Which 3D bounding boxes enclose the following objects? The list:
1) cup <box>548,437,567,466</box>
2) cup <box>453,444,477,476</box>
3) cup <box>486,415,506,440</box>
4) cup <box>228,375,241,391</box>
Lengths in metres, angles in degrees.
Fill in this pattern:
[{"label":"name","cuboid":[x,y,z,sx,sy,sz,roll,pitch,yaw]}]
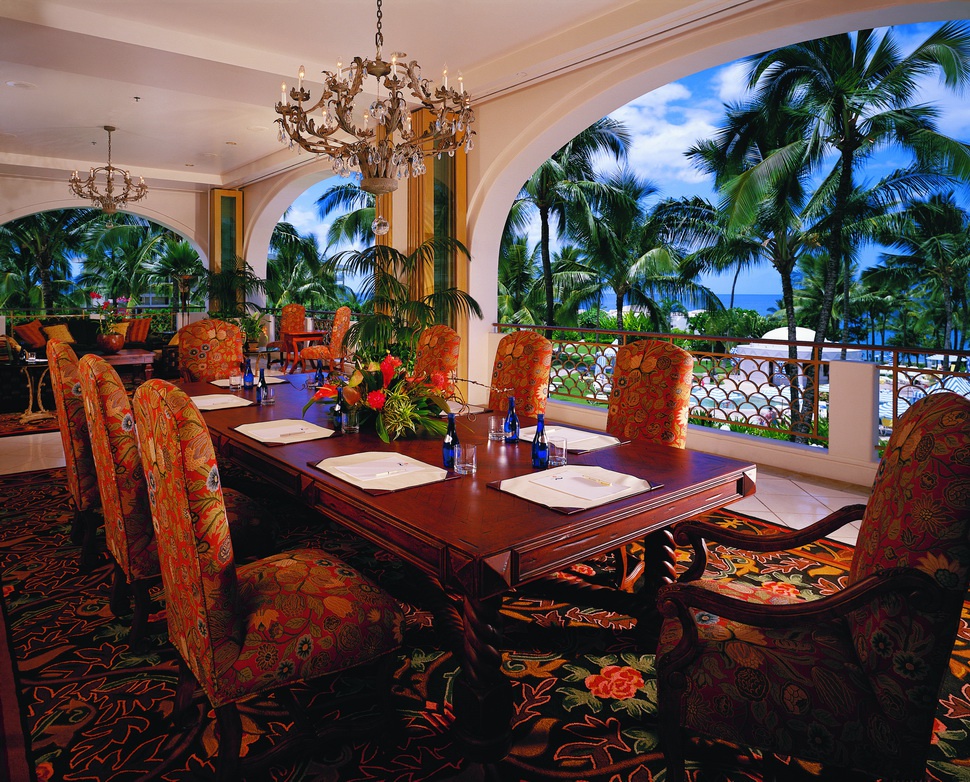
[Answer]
[{"label":"cup","cuboid":[0.259,0.222,2.377,0.078,0.081,0.073,-1,3,0]},{"label":"cup","cuboid":[-0.065,0.233,2.237,0.067,0.089,0.103,0,2,-18]},{"label":"cup","cuboid":[0.050,0.151,2.723,0.087,0.096,0.086,0,1,0]},{"label":"cup","cuboid":[-1.477,-0.050,3.899,0.082,0.058,0.080,1,8,0]}]
